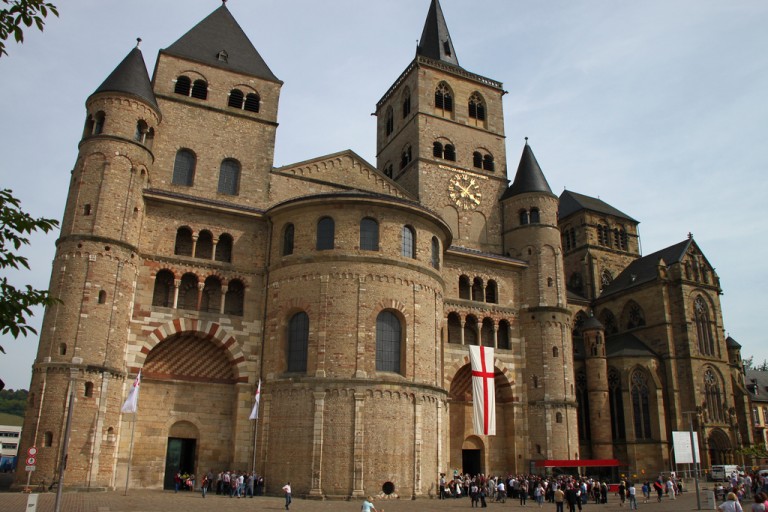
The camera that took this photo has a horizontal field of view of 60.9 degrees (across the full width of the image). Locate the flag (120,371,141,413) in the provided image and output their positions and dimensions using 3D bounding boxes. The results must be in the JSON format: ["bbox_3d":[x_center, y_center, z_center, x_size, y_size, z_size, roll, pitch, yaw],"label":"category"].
[{"bbox_3d":[-17.135,9.189,44.447,0.902,2.781,1.891,9,-25,-19],"label":"flag"}]

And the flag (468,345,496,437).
[{"bbox_3d":[7.690,10.309,50.934,1.955,6.806,0.611,13,-27,-25],"label":"flag"}]

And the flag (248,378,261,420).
[{"bbox_3d":[-9.019,10.016,46.056,0.664,2.800,1.481,5,-24,-10],"label":"flag"}]
